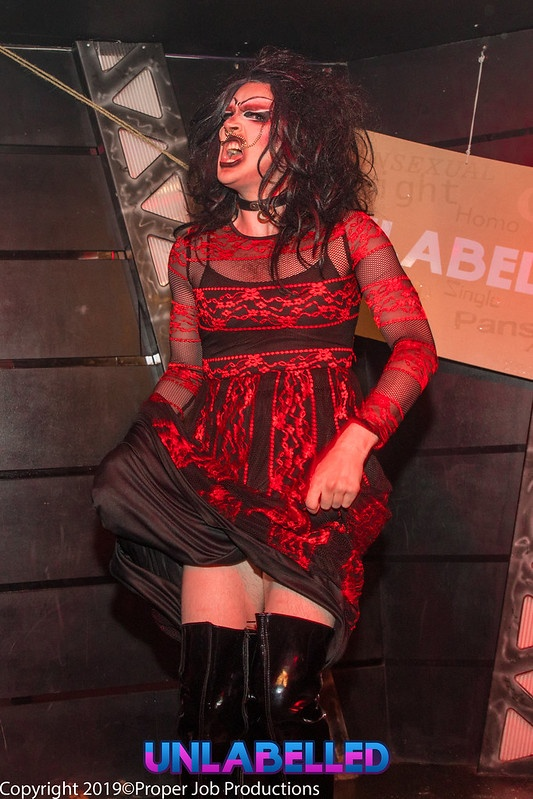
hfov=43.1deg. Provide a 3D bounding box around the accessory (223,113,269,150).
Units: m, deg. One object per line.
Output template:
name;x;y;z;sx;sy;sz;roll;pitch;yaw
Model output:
accessory;-0.041;-0.507;1.277;0.057;0.073;0.016;26;-12;31

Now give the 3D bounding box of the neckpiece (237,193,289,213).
neckpiece;-0.002;-0.375;1.283;0.060;0.014;0.063;1;2;13

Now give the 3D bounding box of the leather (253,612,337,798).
leather;0.035;0.419;0.995;0.119;0.212;0.120;2;18;5
